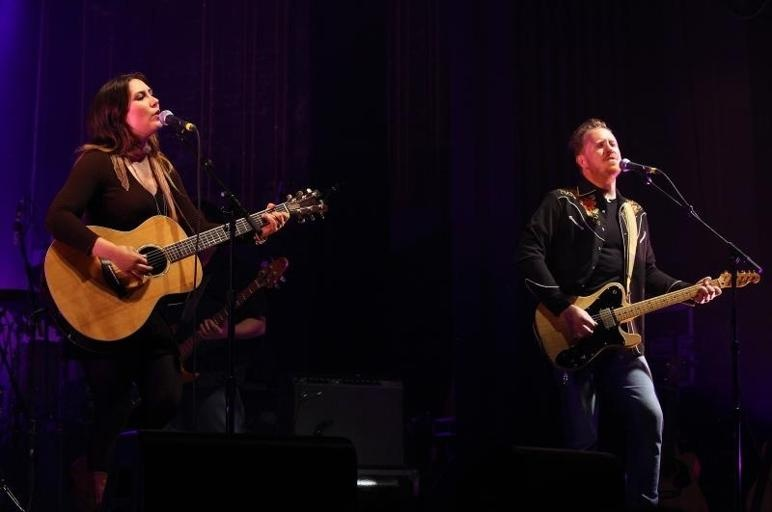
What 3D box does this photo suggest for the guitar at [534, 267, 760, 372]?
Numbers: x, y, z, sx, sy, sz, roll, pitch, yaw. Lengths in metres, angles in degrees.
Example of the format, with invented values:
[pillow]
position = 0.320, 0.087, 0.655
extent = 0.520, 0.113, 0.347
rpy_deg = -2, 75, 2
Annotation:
[guitar]
position = 1.592, 0.507, 4.923
extent = 1.055, 0.644, 0.201
rpy_deg = 0, 0, -3

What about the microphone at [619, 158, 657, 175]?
[microphone]
position = 1.852, -0.661, 5.135
extent = 0.246, 0.092, 0.079
rpy_deg = 14, -16, -1
